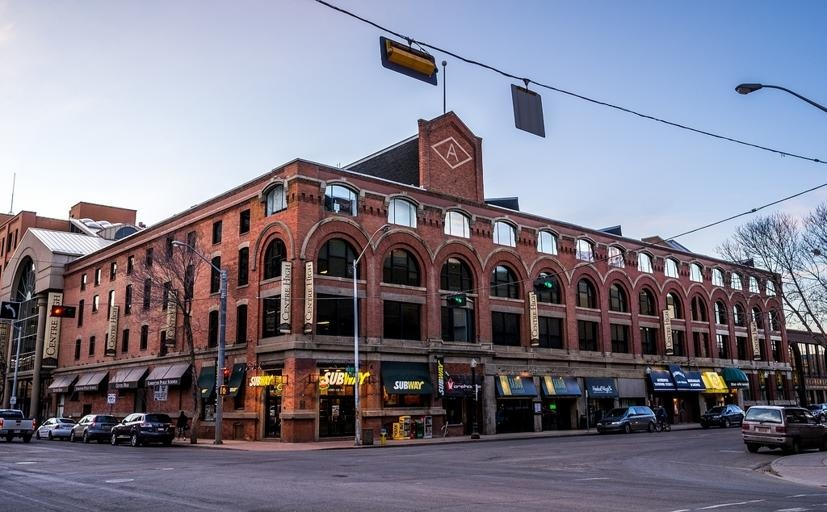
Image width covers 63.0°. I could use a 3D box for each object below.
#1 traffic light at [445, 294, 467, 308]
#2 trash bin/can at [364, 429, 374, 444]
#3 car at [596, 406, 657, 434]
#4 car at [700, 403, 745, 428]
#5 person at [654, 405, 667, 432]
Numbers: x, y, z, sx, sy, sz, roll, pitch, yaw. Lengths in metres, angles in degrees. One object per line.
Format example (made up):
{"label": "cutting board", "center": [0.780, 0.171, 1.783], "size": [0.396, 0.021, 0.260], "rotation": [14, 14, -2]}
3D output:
{"label": "traffic light", "center": [3.396, 3.271, 52.579], "size": [1.339, 1.099, 1.446], "rotation": [-1, -20, -5]}
{"label": "trash bin/can", "center": [-3.162, 12.398, 46.469], "size": [0.630, 1.142, 0.699], "rotation": [-2, -21, -2]}
{"label": "car", "center": [17.719, 13.487, 55.845], "size": [5.234, 2.233, 1.596], "rotation": [8, -23, -27]}
{"label": "car", "center": [28.364, 14.724, 62.130], "size": [4.590, 2.120, 1.433], "rotation": [8, -23, -27]}
{"label": "person", "center": [21.896, 14.439, 59.735], "size": [0.958, 1.102, 1.761], "rotation": [-14, -64, 9]}
